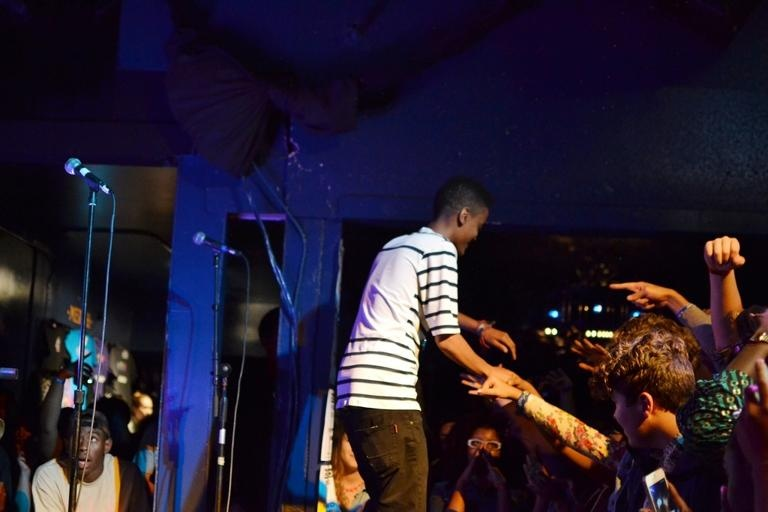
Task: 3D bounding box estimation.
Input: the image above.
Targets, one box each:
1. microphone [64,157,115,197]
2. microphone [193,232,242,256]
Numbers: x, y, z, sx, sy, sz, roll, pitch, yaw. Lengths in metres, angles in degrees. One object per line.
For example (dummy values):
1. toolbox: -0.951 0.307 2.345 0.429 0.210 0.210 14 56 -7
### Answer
1. microphone: -2.313 -0.647 4.915 0.425 0.130 0.147 38 -46 0
2. microphone: -1.280 -0.099 4.731 0.294 0.103 0.098 25 16 -38
